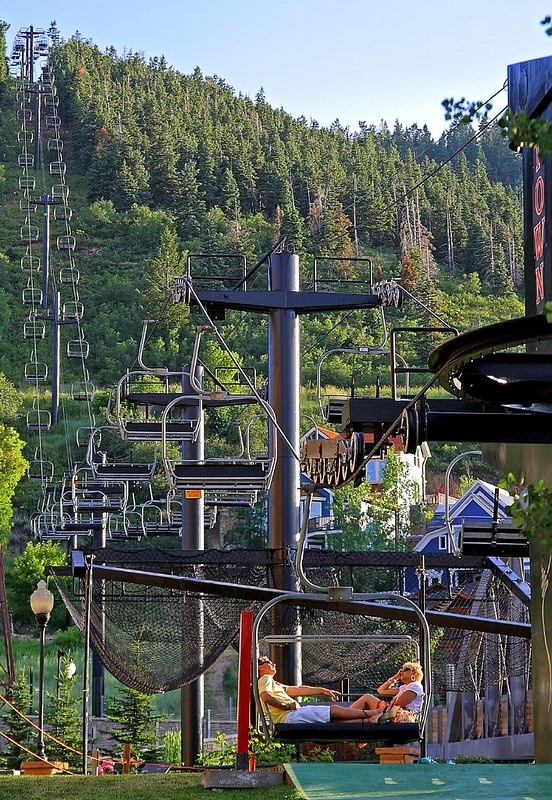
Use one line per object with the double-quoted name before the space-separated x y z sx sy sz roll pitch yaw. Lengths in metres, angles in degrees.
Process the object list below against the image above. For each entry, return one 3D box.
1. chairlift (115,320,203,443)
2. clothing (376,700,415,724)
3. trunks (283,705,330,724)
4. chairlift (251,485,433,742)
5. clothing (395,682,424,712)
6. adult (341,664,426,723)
"chairlift" -2.911 -0.518 54.571 1.638 3.853 3.722 2 -7 -4
"clothing" 1.359 3.463 24.620 0.413 0.191 0.717 -3 -4 7
"trunks" 0.363 3.493 24.769 0.516 0.170 0.268 -2 -4 -6
"chairlift" 0.706 2.691 25.180 2.002 3.248 1.697 3 -24 -7
"clothing" 1.529 3.335 24.943 0.120 0.247 0.213 27 -19 -32
"adult" 1.332 3.286 25.065 0.645 0.827 0.526 18 -15 -18
